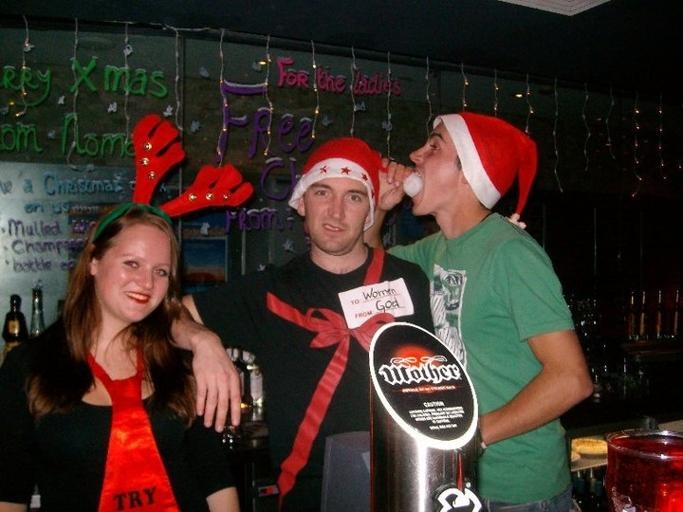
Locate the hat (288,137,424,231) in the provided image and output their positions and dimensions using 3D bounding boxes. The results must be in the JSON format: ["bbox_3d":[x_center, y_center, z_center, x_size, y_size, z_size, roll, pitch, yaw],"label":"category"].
[{"bbox_3d":[0.081,-0.450,3.336,0.374,0.444,0.512,26,-35,-15],"label":"hat"}]

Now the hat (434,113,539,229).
[{"bbox_3d":[0.767,-0.522,3.435,0.583,0.500,0.444,26,14,-4],"label":"hat"}]
